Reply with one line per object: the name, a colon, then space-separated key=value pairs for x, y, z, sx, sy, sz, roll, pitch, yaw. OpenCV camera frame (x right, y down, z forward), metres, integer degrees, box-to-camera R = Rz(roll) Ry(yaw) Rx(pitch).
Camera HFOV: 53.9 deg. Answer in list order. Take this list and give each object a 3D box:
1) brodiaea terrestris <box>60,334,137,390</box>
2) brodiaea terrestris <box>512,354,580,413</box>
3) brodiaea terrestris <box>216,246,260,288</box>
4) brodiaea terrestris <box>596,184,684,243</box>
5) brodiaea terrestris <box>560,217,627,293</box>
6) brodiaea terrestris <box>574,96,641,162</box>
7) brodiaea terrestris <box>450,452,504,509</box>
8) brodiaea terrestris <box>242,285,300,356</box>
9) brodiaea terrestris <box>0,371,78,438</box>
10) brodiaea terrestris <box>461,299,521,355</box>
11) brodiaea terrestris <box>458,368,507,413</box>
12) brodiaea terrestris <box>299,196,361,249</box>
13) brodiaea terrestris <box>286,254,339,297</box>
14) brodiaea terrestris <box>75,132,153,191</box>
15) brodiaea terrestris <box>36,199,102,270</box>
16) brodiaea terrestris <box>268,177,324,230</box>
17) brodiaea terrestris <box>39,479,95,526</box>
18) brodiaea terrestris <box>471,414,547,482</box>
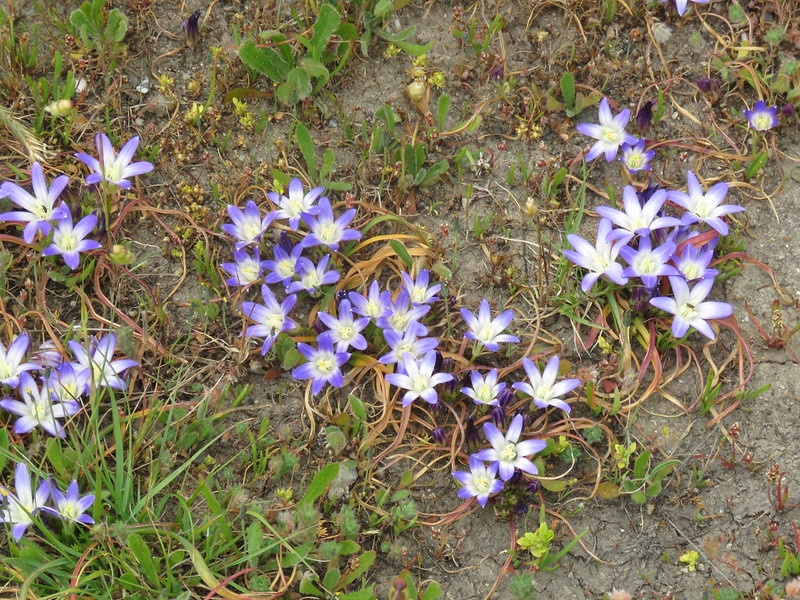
brodiaea terrestris: x=-1.389 y=0.278 z=3.658 sx=0.270 sy=0.104 sz=0.288 roll=38 pitch=49 yaw=5
brodiaea terrestris: x=0.676 y=0.396 z=3.621 sx=0.247 sy=0.128 sz=0.289 roll=23 pitch=62 yaw=13
brodiaea terrestris: x=-0.786 y=-0.177 z=3.842 sx=0.155 sy=0.100 sz=0.211 roll=-22 pitch=82 yaw=21
brodiaea terrestris: x=1.149 y=-0.437 z=3.893 sx=0.358 sy=0.412 sz=0.161 roll=-19 pitch=75 yaw=18
brodiaea terrestris: x=0.957 y=-0.181 z=3.850 sx=0.298 sy=0.140 sz=0.371 roll=-38 pitch=72 yaw=9
brodiaea terrestris: x=1.071 y=-0.861 z=4.117 sx=0.312 sy=0.194 sz=0.312 roll=4 pitch=68 yaw=-2
brodiaea terrestris: x=0.360 y=0.831 z=3.510 sx=0.229 sy=0.108 sz=0.250 roll=3 pitch=34 yaw=29
brodiaea terrestris: x=-0.612 y=0.105 z=3.766 sx=0.265 sy=0.238 sz=0.325 roll=-14 pitch=69 yaw=-8
brodiaea terrestris: x=-1.635 y=0.491 z=3.545 sx=0.283 sy=0.109 sz=0.321 roll=-21 pitch=81 yaw=-21
brodiaea terrestris: x=0.432 y=0.119 z=3.670 sx=0.214 sy=0.129 sz=0.263 roll=-11 pitch=64 yaw=-17
brodiaea terrestris: x=0.392 y=0.411 z=3.632 sx=0.180 sy=0.096 sz=0.177 roll=-39 pitch=81 yaw=-4
brodiaea terrestris: x=-0.340 y=-0.357 z=3.833 sx=0.244 sy=0.114 sz=0.265 roll=-18 pitch=87 yaw=-3
brodiaea terrestris: x=-0.417 y=-0.119 z=3.847 sx=0.197 sy=0.233 sz=0.115 roll=-20 pitch=68 yaw=19
brodiaea terrestris: x=-1.429 y=-0.664 z=3.901 sx=0.305 sy=0.341 sz=0.165 roll=-24 pitch=74 yaw=-22
brodiaea terrestris: x=-1.553 y=-0.300 z=3.782 sx=0.272 sy=0.154 sz=0.265 roll=-24 pitch=96 yaw=-3
brodiaea terrestris: x=-0.516 y=-0.475 z=3.896 sx=0.236 sy=0.096 sz=0.277 roll=11 pitch=74 yaw=3
brodiaea terrestris: x=-1.427 y=0.896 z=3.364 sx=0.199 sy=0.213 sz=0.134 roll=20 pitch=105 yaw=2
brodiaea terrestris: x=0.488 y=0.624 z=3.540 sx=0.322 sy=0.372 sz=0.170 roll=-9 pitch=93 yaw=-28
